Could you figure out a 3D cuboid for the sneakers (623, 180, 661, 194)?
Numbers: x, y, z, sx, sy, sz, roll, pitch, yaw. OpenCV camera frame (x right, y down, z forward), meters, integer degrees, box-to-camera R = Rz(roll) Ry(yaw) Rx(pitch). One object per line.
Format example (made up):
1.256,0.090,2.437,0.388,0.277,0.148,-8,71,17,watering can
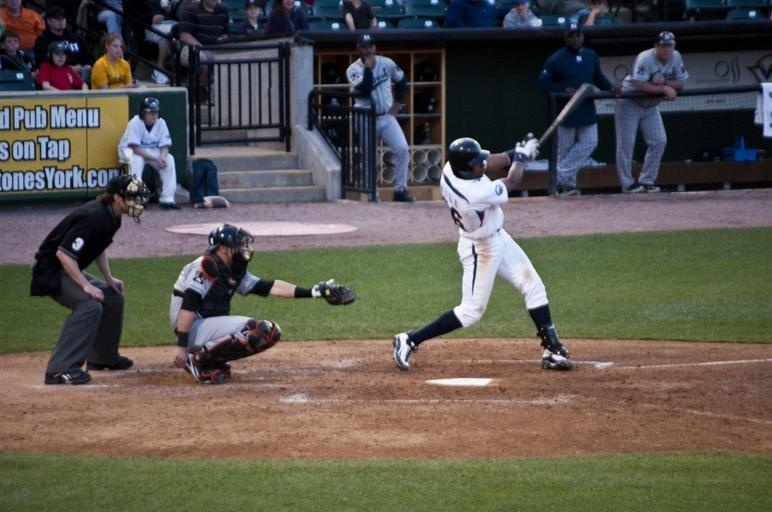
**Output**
4.620,-1.253,25.208,0.679,0.247,0.240,-3,6,-1,sneakers

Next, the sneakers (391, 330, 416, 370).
0.232,1.184,17.718,0.300,0.534,0.199,-8,-18,-6,sneakers

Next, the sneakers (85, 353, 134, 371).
-3.591,1.345,18.081,0.574,0.241,0.221,-3,6,-5,sneakers

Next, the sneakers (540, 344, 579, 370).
2.205,1.307,17.789,0.234,0.244,0.460,-7,0,-31,sneakers

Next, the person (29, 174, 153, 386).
-3.754,0.277,17.591,1.308,2.546,0.666,-6,11,-31,person

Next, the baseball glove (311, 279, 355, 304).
-0.652,0.465,17.576,0.440,0.194,0.319,9,-2,13,baseball glove

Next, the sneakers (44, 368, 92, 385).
-3.976,1.474,17.373,0.490,0.219,0.223,-6,9,-11,sneakers

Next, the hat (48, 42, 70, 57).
-5.786,-3.625,24.470,0.265,0.182,0.350,-5,7,-36,hat

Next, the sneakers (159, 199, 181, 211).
-3.809,-0.902,24.538,0.425,0.166,0.139,2,25,7,sneakers

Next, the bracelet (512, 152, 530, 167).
1.723,-1.241,17.821,0.176,0.123,0.171,33,-13,-29,bracelet

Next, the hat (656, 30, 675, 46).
4.887,-3.784,24.274,0.256,0.177,0.348,4,6,2,hat

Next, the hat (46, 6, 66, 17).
-5.948,-4.362,24.993,0.296,0.143,0.216,3,11,36,hat

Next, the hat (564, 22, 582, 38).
3.260,-3.909,24.183,0.290,0.258,0.246,2,9,13,hat

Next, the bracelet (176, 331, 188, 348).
-2.532,1.039,17.448,0.184,0.173,0.166,4,0,40,bracelet

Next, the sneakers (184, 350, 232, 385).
-2.253,1.432,17.499,0.268,0.264,0.595,-6,36,-44,sneakers

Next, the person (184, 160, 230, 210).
-3.154,-1.227,24.942,0.754,0.819,0.718,7,-17,-30,person

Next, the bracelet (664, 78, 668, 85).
4.899,-3.033,24.306,0.079,0.092,0.147,3,10,17,bracelet

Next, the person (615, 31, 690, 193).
4.614,-2.496,24.548,1.179,2.830,0.779,2,10,14,person

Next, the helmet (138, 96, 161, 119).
-4.115,-2.594,24.159,0.277,0.212,0.375,-4,8,-25,helmet

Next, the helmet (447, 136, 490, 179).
0.966,-1.266,17.639,0.576,0.442,0.409,-15,23,-10,helmet

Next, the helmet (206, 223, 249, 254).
-1.961,-0.220,17.445,0.453,0.268,0.310,-4,12,-10,helmet

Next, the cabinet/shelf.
-0.148,-2.389,25.766,3.340,2.983,1.768,-3,7,-17,cabinet/shelf

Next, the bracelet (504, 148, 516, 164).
1.620,-1.283,17.852,0.162,0.190,0.210,8,0,-4,bracelet
